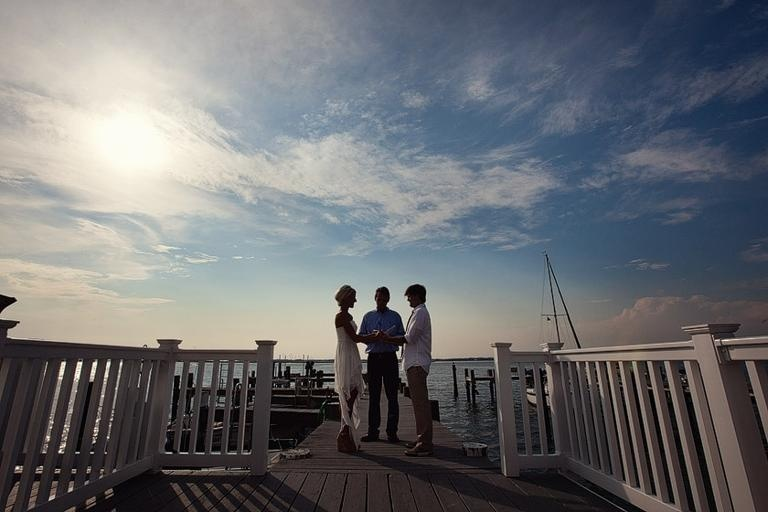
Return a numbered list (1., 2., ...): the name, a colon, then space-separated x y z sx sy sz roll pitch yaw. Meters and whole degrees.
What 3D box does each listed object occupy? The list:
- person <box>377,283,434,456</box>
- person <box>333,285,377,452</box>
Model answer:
1. person: 0.468 1.609 5.881 0.602 2.382 0.670 4 -18 -21
2. person: -0.488 1.650 6.060 0.480 2.392 0.803 0 -16 -6
